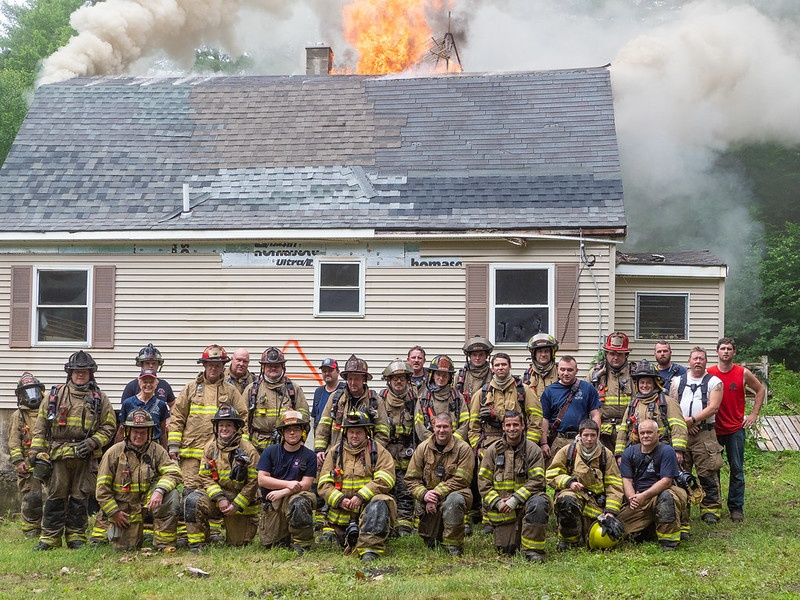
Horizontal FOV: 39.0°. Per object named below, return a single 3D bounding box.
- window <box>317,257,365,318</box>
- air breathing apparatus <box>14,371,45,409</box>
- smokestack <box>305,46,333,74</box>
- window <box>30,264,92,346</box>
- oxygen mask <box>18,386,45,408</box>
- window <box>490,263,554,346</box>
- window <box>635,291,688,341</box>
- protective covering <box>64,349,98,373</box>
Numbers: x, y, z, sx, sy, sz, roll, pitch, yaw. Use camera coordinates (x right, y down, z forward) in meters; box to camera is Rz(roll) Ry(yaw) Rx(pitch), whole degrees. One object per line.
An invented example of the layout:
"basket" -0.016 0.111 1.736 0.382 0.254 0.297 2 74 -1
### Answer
"window" -1.294 -0.280 24.924 1.251 1.492 0.121 -1 -1 5
"air breathing apparatus" -7.175 1.677 21.952 0.502 0.680 0.693 -15 4 -22
"smokestack" -2.222 -6.660 31.179 0.941 0.998 0.770 0 8 5
"window" -7.583 0.124 25.367 1.728 2.525 0.216 0 0 3
"oxygen mask" -7.047 1.823 21.700 0.358 0.385 0.446 -6 -19 -26
"window" 2.631 0.096 24.368 1.670 2.206 0.162 1 -4 2
"window" 5.865 0.340 25.371 1.033 0.933 0.125 1 -1 2
"protective covering" -5.893 1.095 20.928 0.427 0.290 0.615 1 -5 -15
